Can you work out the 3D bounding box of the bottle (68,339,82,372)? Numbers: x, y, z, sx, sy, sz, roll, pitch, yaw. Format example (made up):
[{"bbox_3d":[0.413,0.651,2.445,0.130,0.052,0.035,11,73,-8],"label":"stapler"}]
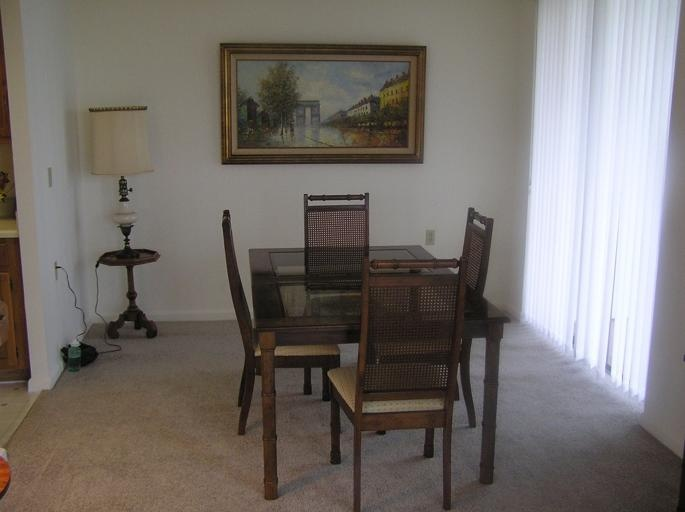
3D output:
[{"bbox_3d":[-1.963,0.724,4.101,0.095,0.216,0.125,-7,14,-25],"label":"bottle"}]

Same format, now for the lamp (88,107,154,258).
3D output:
[{"bbox_3d":[-1.775,-0.607,4.563,0.454,1.190,0.422,-7,14,-24],"label":"lamp"}]

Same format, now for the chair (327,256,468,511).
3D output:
[{"bbox_3d":[0.259,0.590,2.827,0.671,1.287,0.478,-2,13,-2],"label":"chair"}]

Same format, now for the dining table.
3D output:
[{"bbox_3d":[-0.037,0.436,3.374,1.022,0.853,1.665,-1,9,-5],"label":"dining table"}]
